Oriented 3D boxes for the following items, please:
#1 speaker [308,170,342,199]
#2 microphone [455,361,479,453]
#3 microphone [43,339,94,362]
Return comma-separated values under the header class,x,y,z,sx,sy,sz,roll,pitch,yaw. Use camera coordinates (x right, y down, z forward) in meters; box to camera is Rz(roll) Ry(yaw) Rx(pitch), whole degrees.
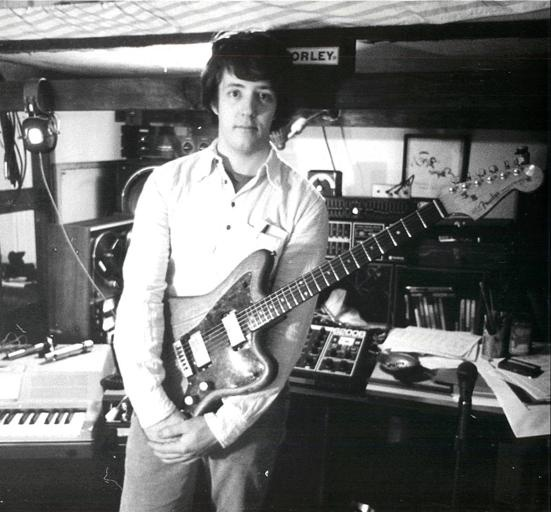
class,x,y,z,sx,sy,sz,roll,pitch,yaw
speaker,0.195,-0.276,2.217,0.141,0.118,0.082,3,21,25
microphone,0.670,0.535,2.038,0.106,0.301,0.112,8,15,15
microphone,-0.849,0.383,2.393,0.227,0.064,0.061,-13,26,-29
